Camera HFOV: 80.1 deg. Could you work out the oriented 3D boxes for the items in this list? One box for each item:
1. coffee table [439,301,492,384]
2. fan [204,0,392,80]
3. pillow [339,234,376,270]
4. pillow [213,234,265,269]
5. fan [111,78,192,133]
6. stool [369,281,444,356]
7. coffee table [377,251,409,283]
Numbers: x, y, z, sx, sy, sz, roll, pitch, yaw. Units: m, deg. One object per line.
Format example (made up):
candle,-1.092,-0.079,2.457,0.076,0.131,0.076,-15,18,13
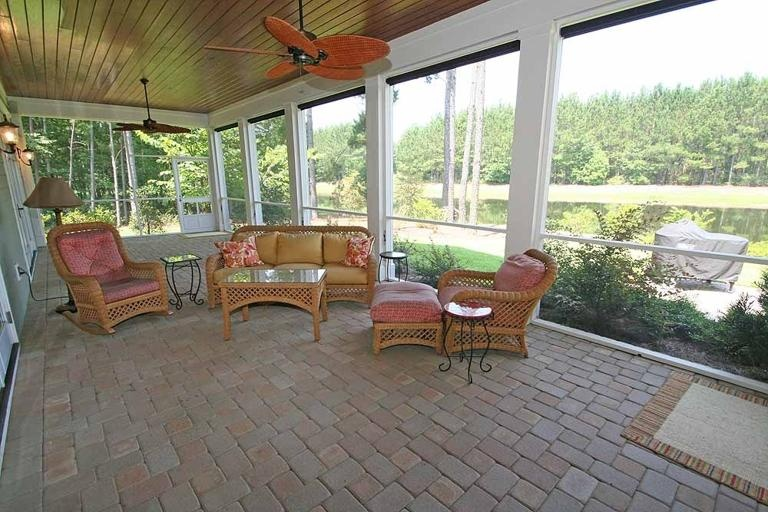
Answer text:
coffee table,0.909,0.911,5.051,0.576,0.793,0.671,2,14,12
fan,-0.593,-2.023,4.551,1.134,0.295,1.099,-3,12,-12
pillow,-0.352,-0.059,6.551,0.548,0.420,0.156,-5,-19,25
pillow,-2.073,-0.051,6.614,0.597,0.393,0.410,-5,14,-18
fan,-4.122,-2.636,8.035,1.475,0.846,1.361,-6,15,-27
stool,0.275,0.702,5.459,0.820,0.430,0.978,1,8,3
coffee table,0.222,0.163,7.400,0.560,0.496,0.511,-1,16,-2
